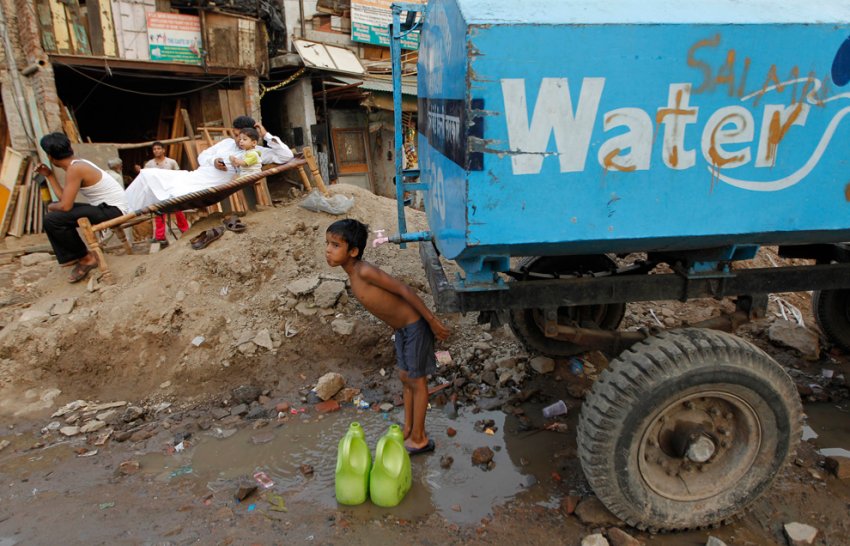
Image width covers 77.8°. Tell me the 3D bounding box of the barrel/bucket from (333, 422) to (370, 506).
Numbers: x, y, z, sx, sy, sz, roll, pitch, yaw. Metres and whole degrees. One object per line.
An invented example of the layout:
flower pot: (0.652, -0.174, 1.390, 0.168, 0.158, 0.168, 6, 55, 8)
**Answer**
barrel/bucket: (-0.585, 1.528, 4.236, 0.255, 0.627, 0.268, -1, 22, 1)

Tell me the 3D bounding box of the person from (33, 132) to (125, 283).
person: (-4.606, -0.896, 7.065, 0.997, 1.877, 0.873, -13, 25, -26)

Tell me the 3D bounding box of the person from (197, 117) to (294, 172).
person: (-2.667, -1.770, 7.726, 1.335, 0.758, 0.635, -1, 2, -18)

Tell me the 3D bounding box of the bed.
bed: (-3.130, -1.029, 7.472, 2.844, 0.973, 2.691, -25, 17, -6)

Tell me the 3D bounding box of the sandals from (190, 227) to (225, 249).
sandals: (-2.936, -0.456, 6.986, 0.418, 0.120, 0.237, -34, 35, -13)

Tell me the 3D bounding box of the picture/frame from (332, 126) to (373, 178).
picture/frame: (-2.113, -3.441, 15.035, 1.348, 1.358, 0.064, 10, 25, 34)

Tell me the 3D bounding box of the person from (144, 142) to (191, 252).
person: (-4.441, -1.433, 9.171, 0.586, 1.636, 0.594, -14, 10, 11)
